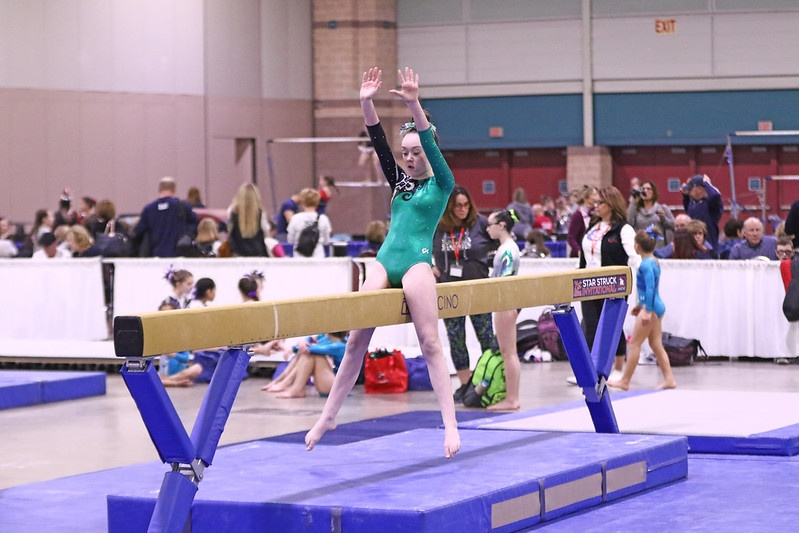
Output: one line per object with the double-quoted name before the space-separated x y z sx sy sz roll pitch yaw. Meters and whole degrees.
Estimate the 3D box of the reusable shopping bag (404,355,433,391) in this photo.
"reusable shopping bag" 0.199 1.227 14.395 0.353 0.384 0.201 -5 8 30

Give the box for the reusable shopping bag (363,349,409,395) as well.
"reusable shopping bag" -0.159 1.233 14.407 0.664 0.721 0.404 0 -8 -3

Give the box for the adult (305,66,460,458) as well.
"adult" -0.008 -0.102 10.640 1.262 3.227 1.057 -1 -11 24
